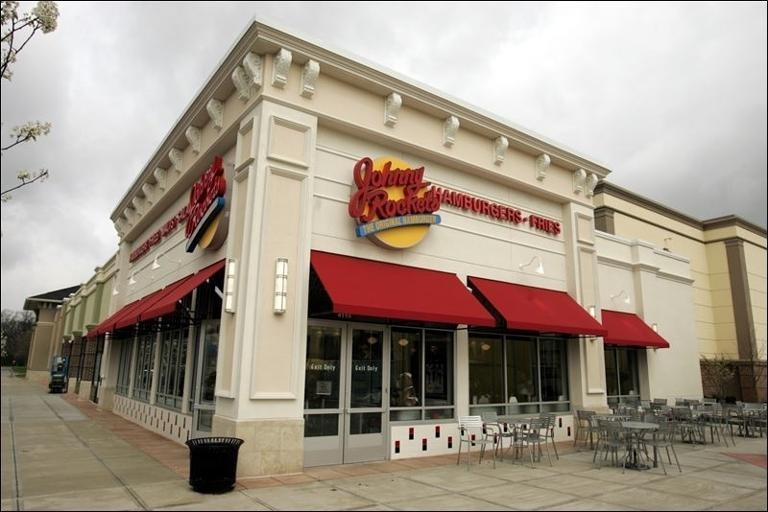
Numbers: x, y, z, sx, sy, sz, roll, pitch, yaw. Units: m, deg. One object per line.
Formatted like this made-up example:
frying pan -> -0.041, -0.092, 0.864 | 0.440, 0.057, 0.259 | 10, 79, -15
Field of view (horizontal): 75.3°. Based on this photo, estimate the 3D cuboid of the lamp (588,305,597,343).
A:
lamp -> 8.342, 2.720, 20.022 | 0.278, 1.447, 0.425 | -1, -5, 33

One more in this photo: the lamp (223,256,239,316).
lamp -> -4.397, 0.843, 14.299 | 0.499, 1.585, 0.312 | 1, -4, 10

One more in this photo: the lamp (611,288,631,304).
lamp -> 11.093, 1.879, 23.378 | 1.687, 0.746, 0.271 | 5, -5, -39

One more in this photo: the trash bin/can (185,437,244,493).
trash bin/can -> -4.242, 5.237, 12.585 | 1.317, 0.883, 1.241 | 5, -6, -30

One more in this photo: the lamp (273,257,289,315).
lamp -> -2.958, 0.836, 14.123 | 0.350, 1.608, 0.226 | 2, -4, -12

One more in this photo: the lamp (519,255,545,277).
lamp -> 5.896, 0.313, 19.404 | 1.364, 0.789, 0.634 | 5, -6, -43
